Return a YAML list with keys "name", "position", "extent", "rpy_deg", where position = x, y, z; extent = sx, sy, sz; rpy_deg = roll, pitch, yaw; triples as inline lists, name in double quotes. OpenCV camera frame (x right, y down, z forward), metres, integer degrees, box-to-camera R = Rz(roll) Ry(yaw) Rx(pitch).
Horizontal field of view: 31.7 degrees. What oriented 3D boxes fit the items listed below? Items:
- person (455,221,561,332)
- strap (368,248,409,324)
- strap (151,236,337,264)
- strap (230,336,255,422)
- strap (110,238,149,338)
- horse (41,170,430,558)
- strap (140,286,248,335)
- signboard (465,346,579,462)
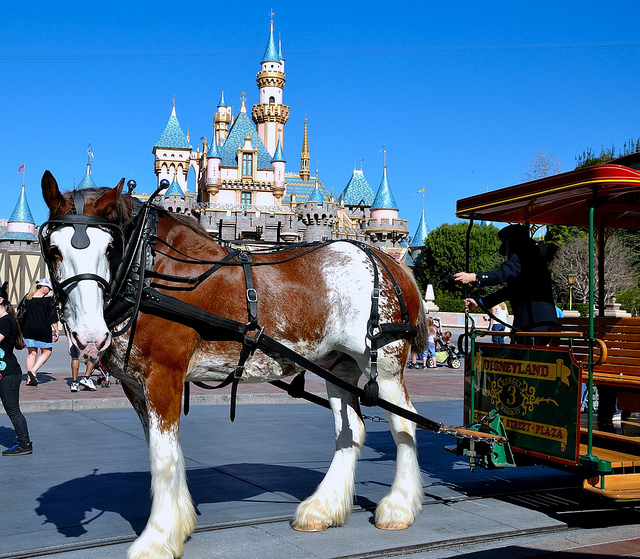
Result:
- name: "person"
  position: [1.893, -0.037, 10.745]
  extent: [0.746, 1.035, 1.265]
  rpy_deg: [4, 2, 31]
- name: "strap"
  position: [0.669, 0.090, 9.897]
  extent: [0.117, 0.489, 0.338]
  rpy_deg: [-22, -39, 0]
- name: "strap"
  position: [-0.652, -0.236, 9.412]
  extent: [1.568, 0.201, 0.323]
  rpy_deg: [1, 2, -36]
- name: "strap"
  position: [-0.629, 0.826, 9.132]
  extent: [0.216, 0.666, 0.129]
  rpy_deg: [-14, -23, 30]
- name: "strap"
  position: [-1.463, 0.062, 8.882]
  extent: [0.156, 0.788, 0.317]
  rpy_deg: [4, 3, 36]
- name: "horse"
  position: [-0.733, 0.695, 9.275]
  extent: [2.908, 2.979, 1.052]
  rpy_deg: [1, 3, -35]
- name: "strap"
  position: [-0.903, 0.232, 8.910]
  extent: [0.943, 0.268, 0.176]
  rpy_deg: [15, -47, -17]
- name: "signboard"
  position: [1.733, 1.031, 10.005]
  extent: [1.620, 0.949, 0.036]
  rpy_deg: [13, -16, -38]
